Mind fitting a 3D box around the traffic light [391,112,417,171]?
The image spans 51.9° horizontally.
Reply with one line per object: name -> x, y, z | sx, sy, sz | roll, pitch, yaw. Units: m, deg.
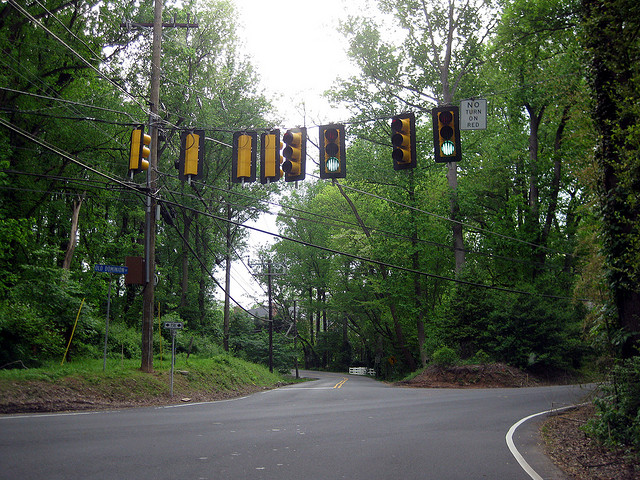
traffic light -> 2.459, -2.991, 19.558 | 0.721, 1.728, 0.507 | 1, -3, 6

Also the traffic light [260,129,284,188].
traffic light -> -1.505, -2.651, 20.585 | 0.729, 1.744, 0.556 | 1, -3, -5

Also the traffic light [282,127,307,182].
traffic light -> -0.812, -2.651, 20.208 | 0.697, 1.710, 0.394 | 1, -3, -6

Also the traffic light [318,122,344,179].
traffic light -> 0.325, -2.672, 19.840 | 0.741, 0.440, 1.929 | -6, -54, -3

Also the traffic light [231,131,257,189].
traffic light -> -2.443, -2.654, 21.087 | 0.733, 1.692, 1.093 | 2, -3, -9

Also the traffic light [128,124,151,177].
traffic light -> -6.019, -3.032, 21.868 | 0.612, 1.569, 0.858 | 1, -3, -2

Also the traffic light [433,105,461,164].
traffic light -> 3.720, -3.099, 19.341 | 0.775, 1.829, 0.479 | -5, -21, 13

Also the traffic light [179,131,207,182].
traffic light -> -4.167, -2.740, 21.287 | 0.765, 1.649, 0.766 | 2, -3, -16
